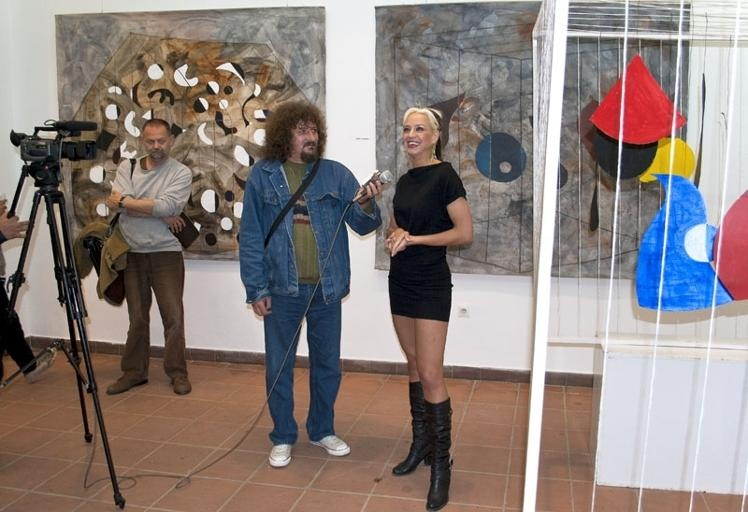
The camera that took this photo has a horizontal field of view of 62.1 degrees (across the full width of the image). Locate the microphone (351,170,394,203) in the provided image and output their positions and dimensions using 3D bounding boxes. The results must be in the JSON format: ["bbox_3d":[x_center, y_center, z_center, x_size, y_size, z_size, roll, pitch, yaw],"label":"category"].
[{"bbox_3d":[-0.006,-0.469,4.264,0.086,0.365,0.146,38,14,-20],"label":"microphone"}]

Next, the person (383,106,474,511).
[{"bbox_3d":[0.322,0.271,3.798,0.506,2.289,0.784,-1,11,-2],"label":"person"}]

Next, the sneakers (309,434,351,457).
[{"bbox_3d":[-0.282,1.252,4.188,0.247,0.090,0.099,5,7,40],"label":"sneakers"}]

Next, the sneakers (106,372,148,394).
[{"bbox_3d":[-2.022,1.026,5.111,0.296,0.135,0.105,-2,6,-45],"label":"sneakers"}]

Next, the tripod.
[{"bbox_3d":[-2.144,0.370,4.222,0.474,1.962,1.943,-7,13,-28],"label":"tripod"}]

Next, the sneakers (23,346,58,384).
[{"bbox_3d":[-2.402,0.738,4.487,0.135,0.162,0.402,18,6,-3],"label":"sneakers"}]

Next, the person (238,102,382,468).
[{"bbox_3d":[-0.471,0.181,4.029,0.755,2.286,0.380,-3,11,-13],"label":"person"}]
